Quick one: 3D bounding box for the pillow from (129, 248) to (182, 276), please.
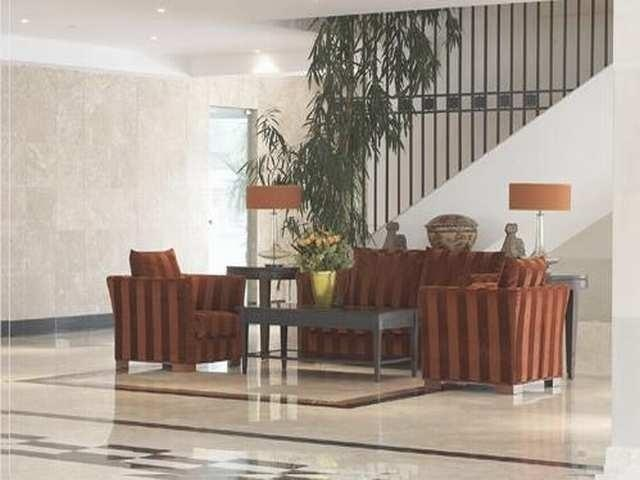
[{"bbox_3d":[-1.616,0.246,8.689,0.529,0.265,0.347,-2,4,-36],"label":"pillow"}]

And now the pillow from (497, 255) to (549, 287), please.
[{"bbox_3d":[1.704,0.282,7.218,0.551,0.288,0.170,2,8,-32],"label":"pillow"}]

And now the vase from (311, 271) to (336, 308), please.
[{"bbox_3d":[0.031,0.449,8.085,0.297,0.314,0.289,4,-8,-39],"label":"vase"}]

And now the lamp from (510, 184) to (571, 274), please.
[{"bbox_3d":[2.135,-0.124,8.580,0.600,0.765,0.483,-1,-7,19],"label":"lamp"}]

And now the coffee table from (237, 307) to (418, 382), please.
[{"bbox_3d":[0.065,0.914,7.973,1.558,0.620,0.604,1,4,15],"label":"coffee table"}]

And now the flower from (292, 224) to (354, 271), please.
[{"bbox_3d":[-0.043,0.074,8.208,0.302,0.291,0.238,-5,-6,-11],"label":"flower"}]

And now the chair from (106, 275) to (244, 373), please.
[{"bbox_3d":[-1.348,0.801,8.634,1.255,0.811,1.188,2,0,1],"label":"chair"}]

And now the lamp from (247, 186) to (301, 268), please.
[{"bbox_3d":[-0.532,-0.151,10.282,0.692,0.859,0.514,0,-1,-8],"label":"lamp"}]

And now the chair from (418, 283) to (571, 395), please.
[{"bbox_3d":[1.504,0.811,7.432,0.906,0.734,0.934,-5,-8,42],"label":"chair"}]
